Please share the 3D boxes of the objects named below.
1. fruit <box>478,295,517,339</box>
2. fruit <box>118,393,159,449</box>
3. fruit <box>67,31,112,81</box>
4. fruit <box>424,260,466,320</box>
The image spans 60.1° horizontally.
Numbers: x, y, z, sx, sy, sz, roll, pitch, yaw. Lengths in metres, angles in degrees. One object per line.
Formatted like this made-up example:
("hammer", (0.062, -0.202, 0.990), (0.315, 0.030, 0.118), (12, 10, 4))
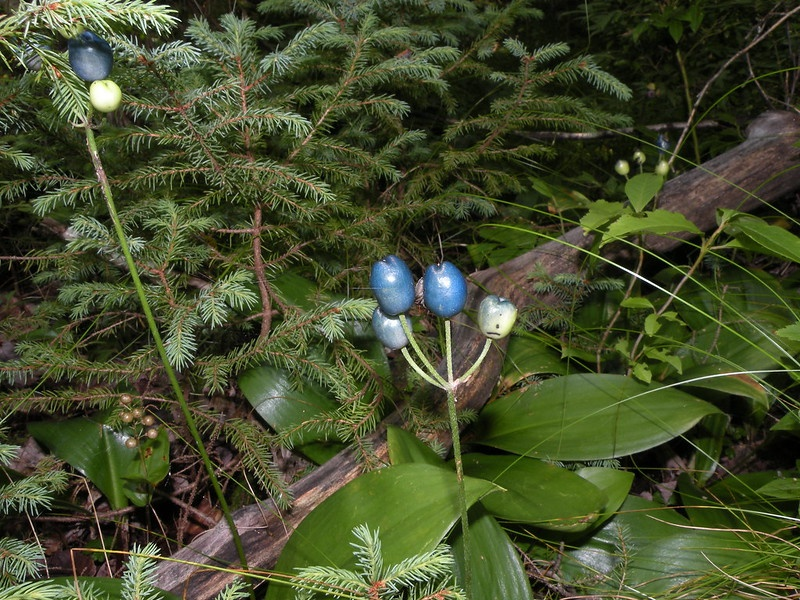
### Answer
("fruit", (0.261, 0.066, 1.888), (0.096, 0.200, 0.106), (1, 52, 6))
("fruit", (-0.928, 0.426, 2.444), (0.105, 0.110, 0.190), (-29, 38, -21))
("fruit", (-0.816, -0.639, 1.807), (0.098, 0.111, 0.093), (-43, 23, -12))
("fruit", (0.121, -0.026, 1.846), (0.112, 0.135, 0.115), (-35, 57, -21))
